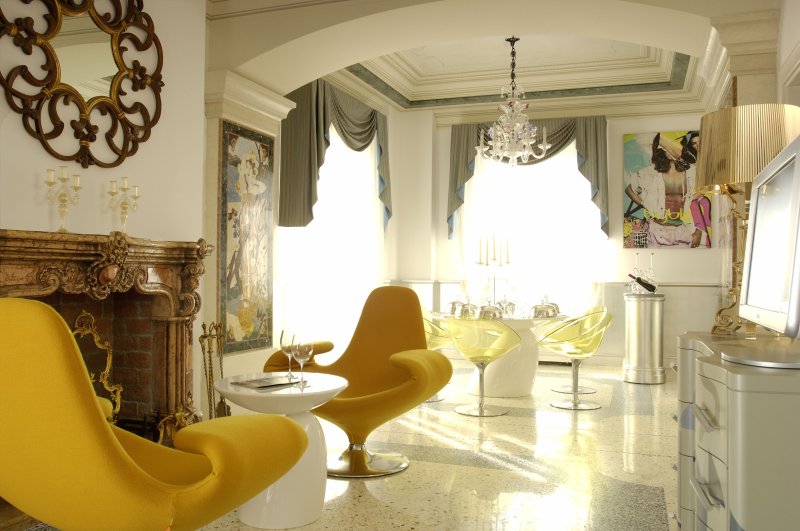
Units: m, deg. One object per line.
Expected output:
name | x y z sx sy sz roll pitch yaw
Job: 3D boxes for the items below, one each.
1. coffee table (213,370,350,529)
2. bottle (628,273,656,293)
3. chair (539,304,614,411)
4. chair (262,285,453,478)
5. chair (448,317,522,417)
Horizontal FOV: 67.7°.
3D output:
coffee table | -0.610 1.066 3.636 0.843 0.874 0.789 0 -4 -6
bottle | 2.838 0.213 6.915 0.291 0.098 0.173 26 5 13
chair | 1.672 0.890 6.149 0.848 1.147 1.090 2 -1 -3
chair | -0.272 0.810 4.581 1.433 1.404 1.258 -2 -7 31
chair | 0.757 0.933 5.804 0.776 1.080 0.895 -4 -1 5
